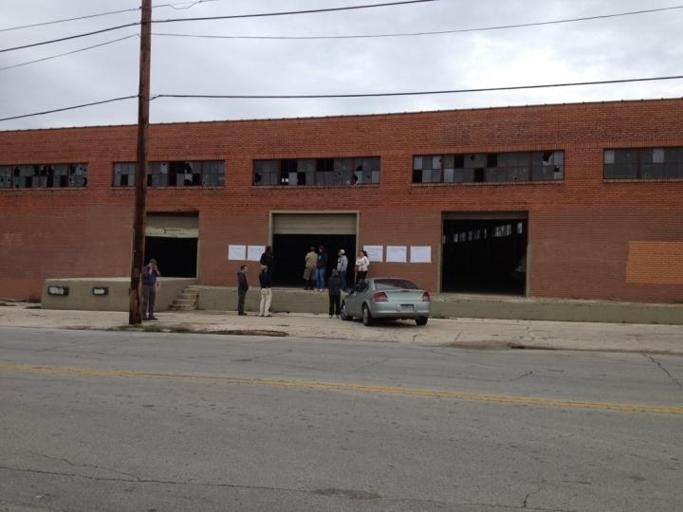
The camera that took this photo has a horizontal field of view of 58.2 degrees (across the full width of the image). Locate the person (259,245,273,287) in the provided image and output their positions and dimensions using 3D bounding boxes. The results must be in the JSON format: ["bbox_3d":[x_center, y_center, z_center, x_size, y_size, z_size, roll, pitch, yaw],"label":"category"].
[{"bbox_3d":[-3.005,0.456,25.457,0.540,1.958,0.520,6,21,2],"label":"person"}]

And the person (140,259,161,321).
[{"bbox_3d":[-6.750,1.172,21.883,0.509,2.066,1.323,1,2,-15],"label":"person"}]

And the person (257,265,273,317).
[{"bbox_3d":[-2.881,1.291,23.201,0.407,1.953,1.548,1,2,-7],"label":"person"}]

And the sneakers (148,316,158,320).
[{"bbox_3d":[-6.577,2.150,21.582,0.254,0.118,0.644,1,2,-19],"label":"sneakers"}]

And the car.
[{"bbox_3d":[1.239,1.485,20.228,2.998,1.537,1.386,3,2,45],"label":"car"}]
